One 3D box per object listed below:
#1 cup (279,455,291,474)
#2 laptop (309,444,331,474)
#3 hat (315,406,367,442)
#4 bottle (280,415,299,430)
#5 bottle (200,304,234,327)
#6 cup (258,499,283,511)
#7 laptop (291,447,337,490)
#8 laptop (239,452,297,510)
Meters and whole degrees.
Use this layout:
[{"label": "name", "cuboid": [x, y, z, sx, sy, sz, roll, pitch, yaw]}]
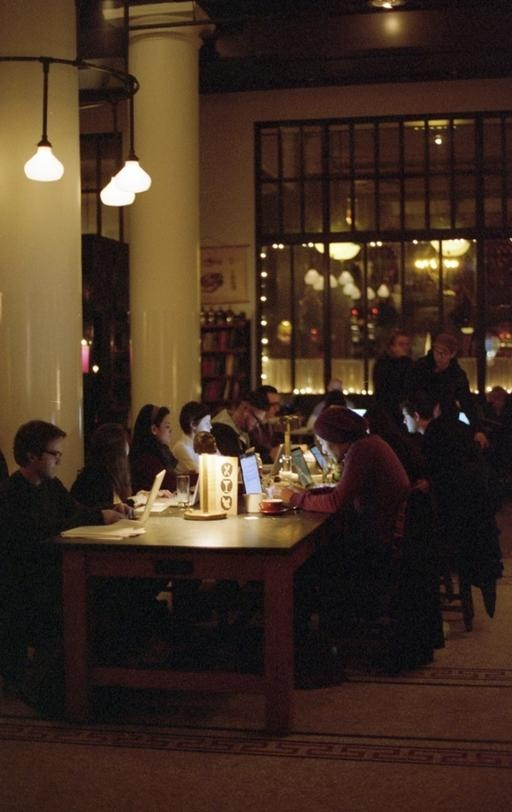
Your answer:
[{"label": "cup", "cuboid": [0.184, 0.354, 5.072, 0.081, 0.161, 0.079, 2, -5, 0]}, {"label": "laptop", "cuboid": [0.436, 0.357, 5.499, 0.034, 0.179, 0.329, -34, 0, 0]}, {"label": "hat", "cuboid": [0.392, 0.066, 3.742, 0.206, 0.144, 0.155, 10, 5, 24]}, {"label": "bottle", "cuboid": [0.378, 0.143, 8.360, 0.181, 0.159, 0.176, 2, 4, 18]}, {"label": "bottle", "cuboid": [-0.447, -1.053, 9.313, 0.380, 0.252, 0.217, -1, 3, -4]}, {"label": "cup", "cuboid": [0.061, 0.422, 3.490, 0.068, 0.029, 0.057, -8, -8, 37]}, {"label": "laptop", "cuboid": [0.354, 0.404, 4.882, 0.221, 0.246, 0.264, -18, 7, 1]}, {"label": "laptop", "cuboid": [0.027, 0.352, 3.796, 0.275, 0.255, 0.187, 0, -1, 32]}]
